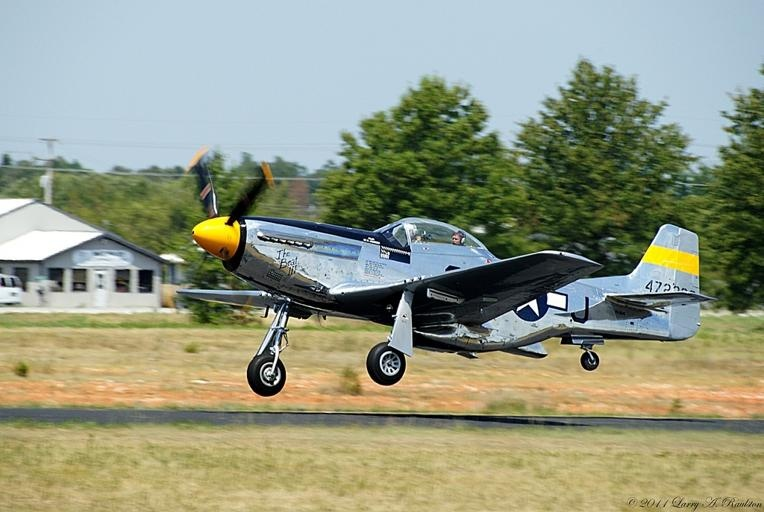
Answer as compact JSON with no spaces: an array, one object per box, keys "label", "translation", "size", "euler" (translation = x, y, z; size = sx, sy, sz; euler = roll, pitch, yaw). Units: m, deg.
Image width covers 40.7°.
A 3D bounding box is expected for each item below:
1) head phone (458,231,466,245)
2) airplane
[{"label":"head phone","translation":[1.954,-0.437,25.538],"size":[0.184,0.258,0.245],"euler":[10,12,-9]},{"label":"airplane","translation":[2.300,0.965,25.901],"size":[11.681,2.651,9.968],"euler":[6,-6,-24]}]
